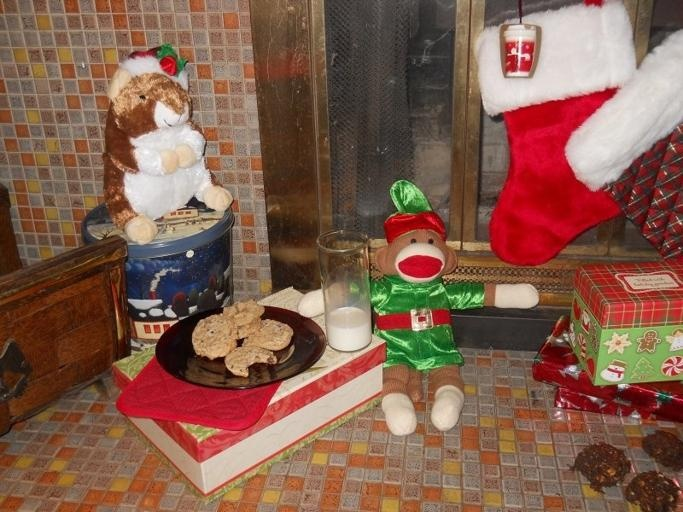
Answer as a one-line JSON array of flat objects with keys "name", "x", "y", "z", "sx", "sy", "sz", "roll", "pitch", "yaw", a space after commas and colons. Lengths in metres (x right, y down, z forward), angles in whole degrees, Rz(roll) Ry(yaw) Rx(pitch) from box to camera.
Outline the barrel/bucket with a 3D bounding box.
[{"name": "barrel/bucket", "x": -0.548, "y": 0.047, "z": 1.625, "sx": 0.369, "sy": 0.384, "sz": 0.355, "roll": 5, "pitch": 27, "yaw": -2}]

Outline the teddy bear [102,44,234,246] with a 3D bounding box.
[{"name": "teddy bear", "x": -0.555, "y": -0.333, "z": 1.496, "sx": 0.360, "sy": 0.492, "sz": 0.370, "roll": 18, "pitch": 35, "yaw": 17}]

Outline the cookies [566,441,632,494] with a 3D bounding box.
[{"name": "cookies", "x": 0.637, "y": 0.507, "z": 1.232, "sx": 0.129, "sy": 0.036, "sz": 0.133, "roll": -32, "pitch": 15, "yaw": -15}]

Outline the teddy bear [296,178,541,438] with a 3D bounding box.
[{"name": "teddy bear", "x": 0.237, "y": 0.156, "z": 1.454, "sx": 0.673, "sy": 0.627, "sz": 0.377, "roll": -3, "pitch": 16, "yaw": -8}]

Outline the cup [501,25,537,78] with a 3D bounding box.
[{"name": "cup", "x": 0.464, "y": -0.523, "z": 1.300, "sx": 0.101, "sy": 0.120, "sz": 0.089, "roll": 12, "pitch": 20, "yaw": 37}]

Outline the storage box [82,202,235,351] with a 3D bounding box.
[{"name": "storage box", "x": -0.547, "y": 0.047, "z": 1.620, "sx": 0.356, "sy": 0.373, "sz": 0.349, "roll": 10, "pitch": 27, "yaw": 10}]
